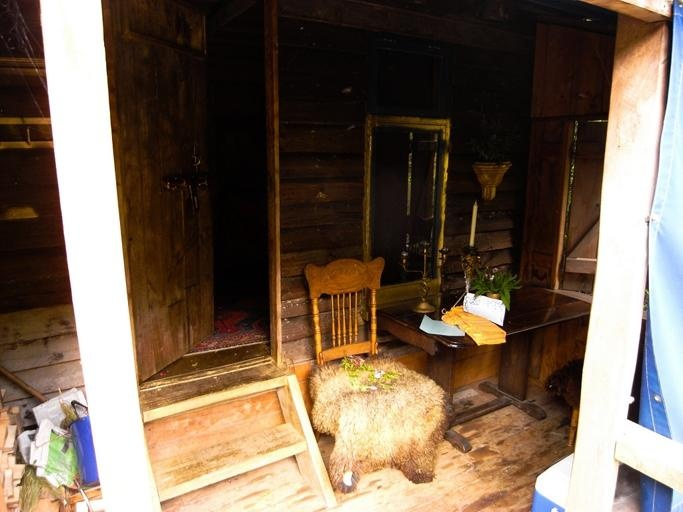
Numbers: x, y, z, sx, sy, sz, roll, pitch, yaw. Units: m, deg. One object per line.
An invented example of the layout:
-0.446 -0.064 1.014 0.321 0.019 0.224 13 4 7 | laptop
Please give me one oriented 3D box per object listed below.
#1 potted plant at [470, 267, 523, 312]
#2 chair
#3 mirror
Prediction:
1.174 0.213 3.669 0.369 0.168 0.376 8 16 31 | potted plant
0.251 0.785 3.284 0.911 1.341 1.026 -1 10 -11 | chair
0.560 -0.305 4.004 0.765 1.529 0.057 8 16 32 | mirror
